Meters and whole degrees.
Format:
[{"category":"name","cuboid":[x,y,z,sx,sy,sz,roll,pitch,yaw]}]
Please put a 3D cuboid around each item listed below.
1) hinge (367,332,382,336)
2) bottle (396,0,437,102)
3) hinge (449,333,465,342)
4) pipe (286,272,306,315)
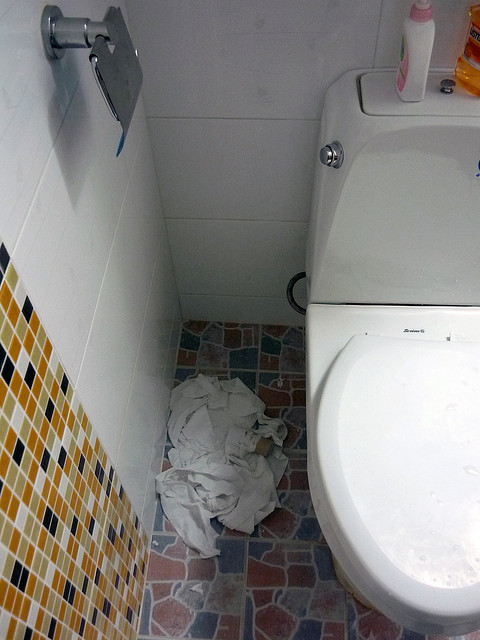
[{"category":"hinge","cuboid":[0.274,0.029,0.855,0.024,0.007,0.006,4,84,-3]},{"category":"bottle","cuboid":[0.269,-0.409,0.649,0.045,0.117,0.085,6,57,7]},{"category":"hinge","cuboid":[0.433,0.034,0.842,0.031,0.003,0.017,2,64,3]},{"category":"pipe","cuboid":[0.137,-0.066,1.043,0.067,0.094,0.016,-18,16,-34]}]
